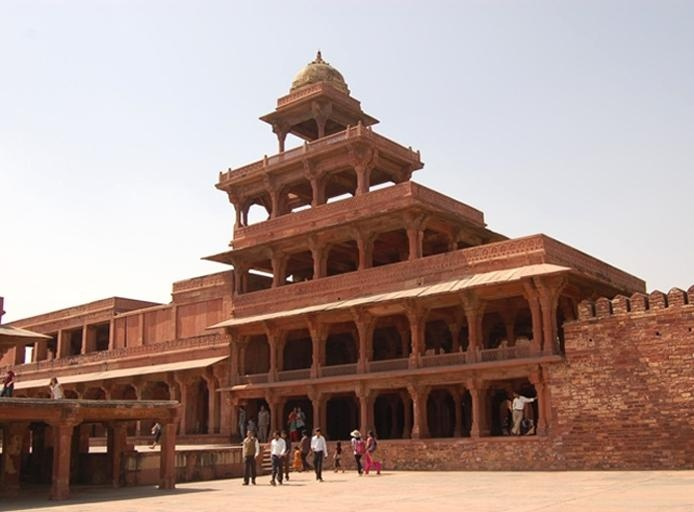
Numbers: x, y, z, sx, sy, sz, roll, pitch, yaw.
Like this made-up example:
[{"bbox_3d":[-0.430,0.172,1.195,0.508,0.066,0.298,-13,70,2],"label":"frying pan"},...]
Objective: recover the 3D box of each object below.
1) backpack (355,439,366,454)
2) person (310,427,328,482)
[{"bbox_3d":[0.506,7.407,29.110,0.236,0.534,0.549,-15,-23,31],"label":"backpack"},{"bbox_3d":[-1.105,7.401,27.882,0.674,1.813,0.708,-7,-12,33],"label":"person"}]
